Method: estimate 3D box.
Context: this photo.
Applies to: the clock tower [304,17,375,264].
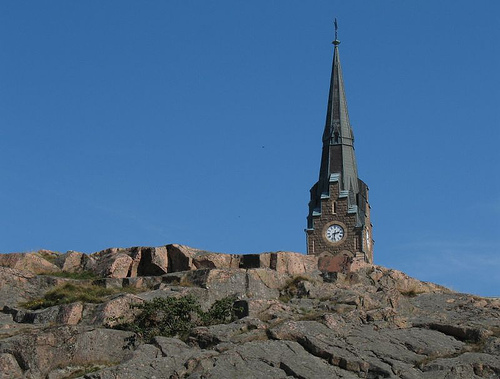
[{"bbox_3d":[8.455,-1.604,75.847,4.940,13.522,12.378,2,10,5],"label":"clock tower"}]
